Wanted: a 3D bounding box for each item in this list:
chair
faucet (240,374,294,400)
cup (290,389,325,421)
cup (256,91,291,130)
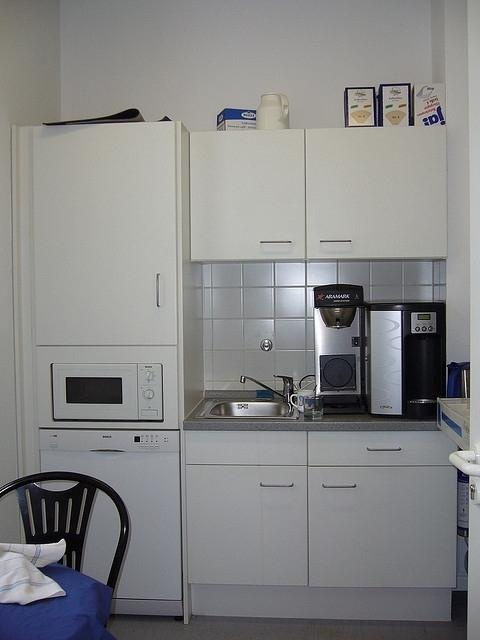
[{"bbox_3d":[-0.424,0.565,1.777,0.300,0.457,0.331,1,-12,-4],"label":"chair"},{"bbox_3d":[0.118,0.309,2.732,0.236,0.120,0.386,-3,4,-1],"label":"faucet"},{"bbox_3d":[0.275,0.351,2.519,0.114,0.091,0.075,-1,-1,36],"label":"cup"},{"bbox_3d":[0.134,-0.856,2.520,0.119,0.176,0.149,-3,8,-32],"label":"cup"}]
